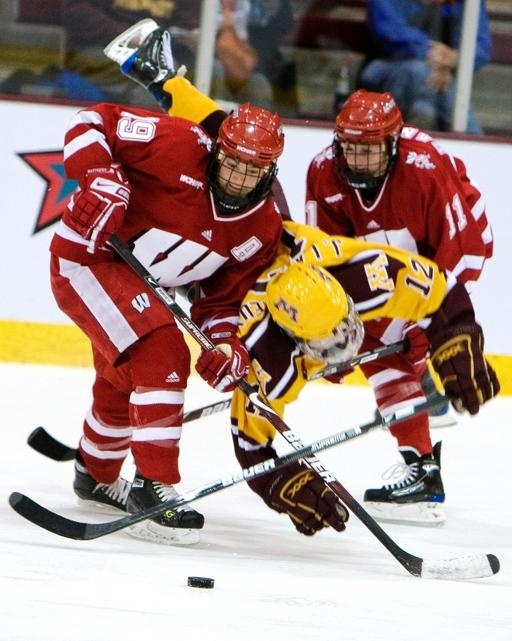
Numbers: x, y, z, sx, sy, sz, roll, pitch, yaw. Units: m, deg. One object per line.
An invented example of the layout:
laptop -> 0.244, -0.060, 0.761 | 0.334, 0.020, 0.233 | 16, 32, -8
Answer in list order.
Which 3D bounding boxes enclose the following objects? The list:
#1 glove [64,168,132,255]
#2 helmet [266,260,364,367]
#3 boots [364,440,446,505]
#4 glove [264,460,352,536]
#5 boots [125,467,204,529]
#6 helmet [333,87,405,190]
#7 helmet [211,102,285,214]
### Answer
glove -> -0.389, -0.275, 1.970 | 0.163, 0.209, 0.107 | 33, 17, 7
helmet -> 0.131, -0.030, 1.945 | 0.278, 0.142, 0.198 | 39, 63, 23
boots -> 0.467, 0.489, 2.369 | 0.296, 0.200, 0.102 | -18, -25, 39
glove -> 0.124, 0.432, 1.929 | 0.202, 0.137, 0.084 | 41, 10, 13
boots -> -0.218, 0.443, 1.921 | 0.096, 0.139, 0.282 | 8, -4, -42
helmet -> 0.378, -0.589, 2.482 | 0.238, 0.260, 0.280 | 22, 47, 38
helmet -> -0.026, -0.412, 1.956 | 0.169, 0.277, 0.126 | 10, 0, -5
